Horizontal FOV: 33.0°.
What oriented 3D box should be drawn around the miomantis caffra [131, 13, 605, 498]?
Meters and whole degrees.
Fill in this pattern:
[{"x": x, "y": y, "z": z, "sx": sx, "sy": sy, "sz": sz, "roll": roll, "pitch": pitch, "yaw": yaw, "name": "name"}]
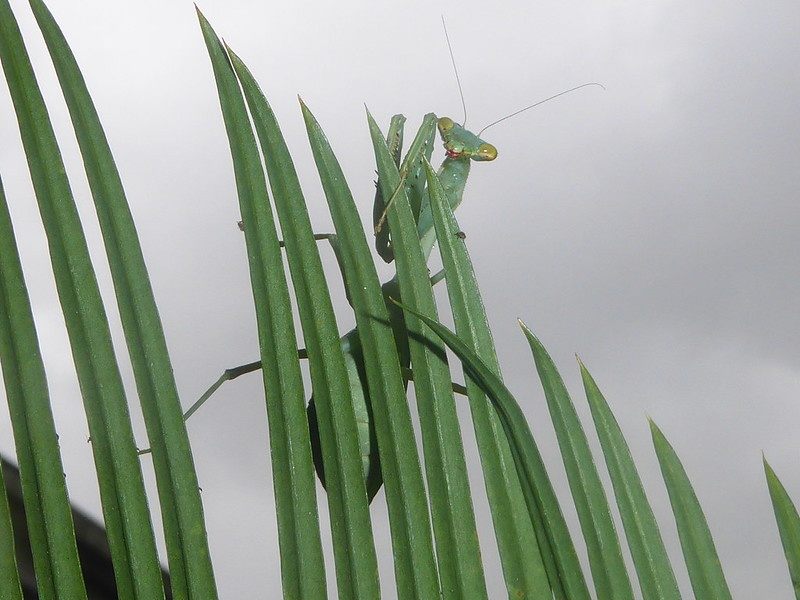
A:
[{"x": -0.024, "y": -0.033, "z": 1.416, "sx": 0.347, "sy": 0.380, "sz": 0.610, "roll": 16, "pitch": -68, "yaw": 5, "name": "miomantis caffra"}]
